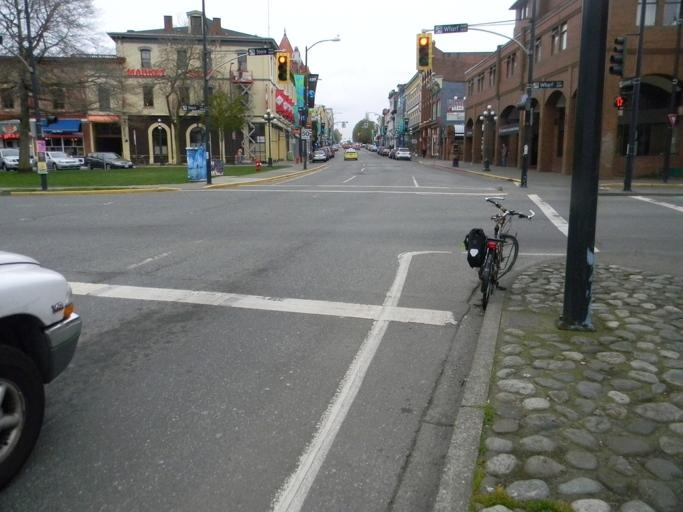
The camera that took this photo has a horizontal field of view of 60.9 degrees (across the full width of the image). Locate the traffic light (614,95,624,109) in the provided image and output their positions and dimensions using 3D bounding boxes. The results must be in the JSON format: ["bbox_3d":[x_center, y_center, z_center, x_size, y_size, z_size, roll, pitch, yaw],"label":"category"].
[{"bbox_3d":[11.779,-6.602,24.699,0.350,0.446,0.648,7,15,30],"label":"traffic light"}]

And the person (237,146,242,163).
[{"bbox_3d":[-10.605,-10.482,60.102,0.602,1.323,2.985,-2,14,-10],"label":"person"}]

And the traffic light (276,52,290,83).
[{"bbox_3d":[-2.657,-8.759,26.605,0.496,1.397,1.459,-2,13,-8],"label":"traffic light"}]

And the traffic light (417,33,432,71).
[{"bbox_3d":[3.563,-9.037,25.268,0.583,1.575,0.882,2,12,12],"label":"traffic light"}]
